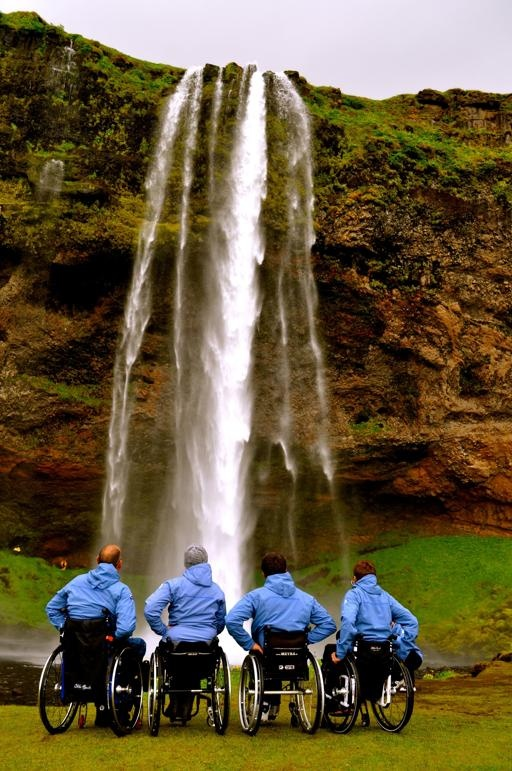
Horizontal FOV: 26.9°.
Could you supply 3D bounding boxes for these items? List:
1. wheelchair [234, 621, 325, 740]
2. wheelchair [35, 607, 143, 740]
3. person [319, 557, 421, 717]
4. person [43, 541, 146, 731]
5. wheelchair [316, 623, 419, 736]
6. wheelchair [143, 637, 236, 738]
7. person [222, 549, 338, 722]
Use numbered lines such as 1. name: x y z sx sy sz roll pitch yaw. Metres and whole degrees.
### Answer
1. wheelchair: 0.263 3.277 12.070 1.006 1.319 0.798 3 -10 -5
2. wheelchair: -1.814 3.206 11.896 1.124 1.405 0.855 5 -1 -4
3. person: 1.402 2.800 12.268 1.083 1.505 1.005 2 -14 15
4. person: -1.668 2.866 12.077 1.010 2.151 1.165 -11 -14 40
5. wheelchair: 1.217 3.373 12.213 1.234 1.213 1.121 7 -27 -2
6. wheelchair: -0.794 3.354 12.079 0.892 1.231 1.177 1 -2 -6
7. person: 0.287 2.725 12.254 0.947 2.026 0.923 0 -4 -1
